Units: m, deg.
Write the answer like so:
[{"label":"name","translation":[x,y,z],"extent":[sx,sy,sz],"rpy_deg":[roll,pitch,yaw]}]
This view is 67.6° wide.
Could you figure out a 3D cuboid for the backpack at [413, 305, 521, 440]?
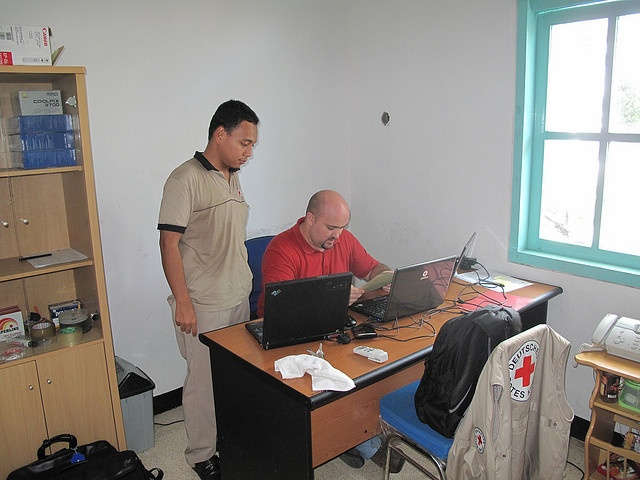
[{"label":"backpack","translation":[0.673,0.586,2.142],"extent":[0.447,0.559,0.220],"rpy_deg":[-6,15,-15]}]

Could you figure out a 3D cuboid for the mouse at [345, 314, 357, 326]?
[{"label":"mouse","translation":[0.168,0.432,2.564],"extent":[0.043,0.026,0.072],"rpy_deg":[-6,16,-31]}]

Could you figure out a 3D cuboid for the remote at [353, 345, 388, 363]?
[{"label":"remote","translation":[0.242,0.535,2.275],"extent":[0.116,0.033,0.071],"rpy_deg":[10,13,41]}]

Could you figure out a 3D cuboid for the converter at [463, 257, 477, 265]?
[{"label":"converter","translation":[1.041,0.148,3.303],"extent":[0.048,0.024,0.070],"rpy_deg":[-5,12,-15]}]

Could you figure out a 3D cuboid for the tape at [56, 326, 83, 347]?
[{"label":"tape","translation":[-1.431,0.539,2.728],"extent":[0.106,0.070,0.107],"rpy_deg":[-4,14,-28]}]

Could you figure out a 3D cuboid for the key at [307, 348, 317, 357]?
[{"label":"key","translation":[-0.038,0.541,2.290],"extent":[0.035,0.018,0.101],"rpy_deg":[-6,15,-14]}]

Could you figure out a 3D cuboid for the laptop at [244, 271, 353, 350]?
[{"label":"laptop","translation":[-0.115,0.292,2.397],"extent":[0.469,0.429,0.352],"rpy_deg":[-8,32,-24]}]

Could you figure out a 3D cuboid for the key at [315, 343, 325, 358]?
[{"label":"key","translation":[0.006,0.531,2.300],"extent":[0.034,0.094,0.051],"rpy_deg":[-10,18,-30]}]

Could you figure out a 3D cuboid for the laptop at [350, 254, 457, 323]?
[{"label":"laptop","translation":[0.497,0.162,2.634],"extent":[0.470,0.308,0.362],"rpy_deg":[-13,18,-36]}]

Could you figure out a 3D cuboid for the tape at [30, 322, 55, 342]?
[{"label":"tape","translation":[-1.570,0.511,2.707],"extent":[0.095,0.071,0.099],"rpy_deg":[5,4,17]}]
